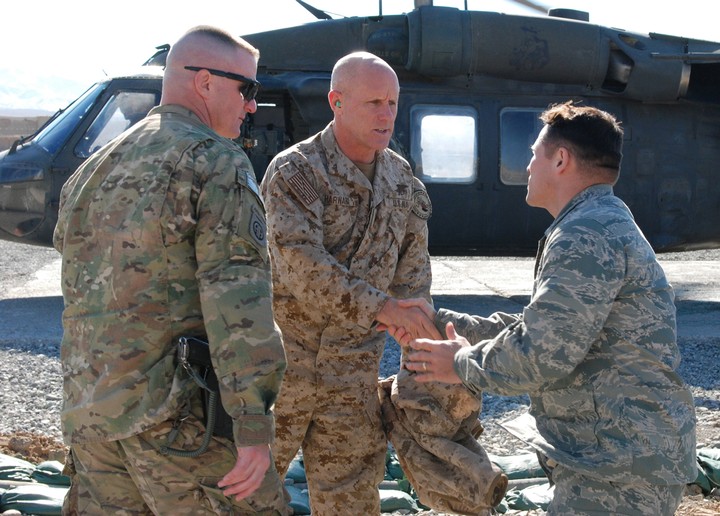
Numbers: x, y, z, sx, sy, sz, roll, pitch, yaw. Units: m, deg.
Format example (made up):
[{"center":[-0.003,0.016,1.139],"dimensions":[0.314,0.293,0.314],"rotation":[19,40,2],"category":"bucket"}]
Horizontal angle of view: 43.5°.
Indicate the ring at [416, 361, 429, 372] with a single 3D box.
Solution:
[{"center":[0.292,0.494,4.114],"dimensions":[0.032,0.038,0.016],"rotation":[-3,18,17],"category":"ring"}]
